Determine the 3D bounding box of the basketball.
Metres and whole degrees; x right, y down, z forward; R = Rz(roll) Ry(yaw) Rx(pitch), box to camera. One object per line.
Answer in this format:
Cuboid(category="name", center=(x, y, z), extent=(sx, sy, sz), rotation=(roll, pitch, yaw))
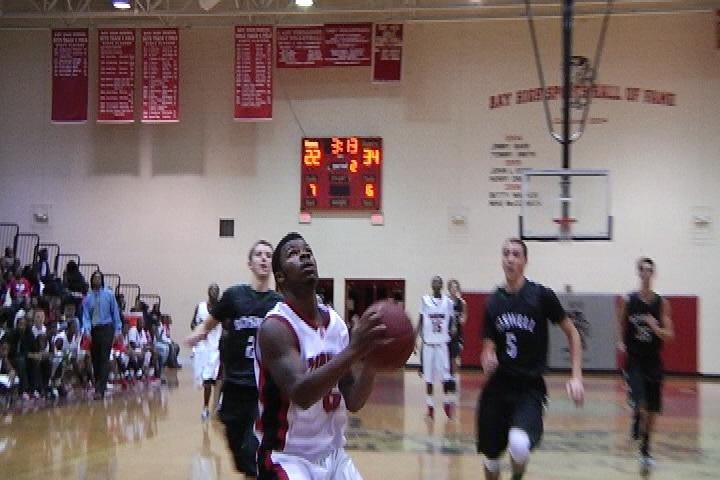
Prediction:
Cuboid(category="basketball", center=(0.189, 0.650, 4.009), extent=(0.349, 0.466, 0.260), rotation=(0, -1, -7))
